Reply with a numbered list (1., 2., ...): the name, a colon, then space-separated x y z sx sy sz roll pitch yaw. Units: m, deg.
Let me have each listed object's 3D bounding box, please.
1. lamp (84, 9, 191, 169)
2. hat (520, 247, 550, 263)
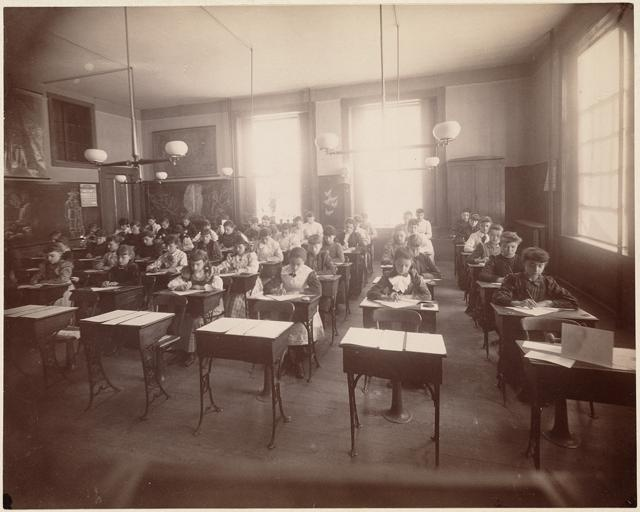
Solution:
1. lamp: -2.895 -2.446 8.499 1.316 2.250 5.214 -3 7 -15
2. hat: 2.495 -0.010 6.074 0.192 0.094 0.242 2 7 8
